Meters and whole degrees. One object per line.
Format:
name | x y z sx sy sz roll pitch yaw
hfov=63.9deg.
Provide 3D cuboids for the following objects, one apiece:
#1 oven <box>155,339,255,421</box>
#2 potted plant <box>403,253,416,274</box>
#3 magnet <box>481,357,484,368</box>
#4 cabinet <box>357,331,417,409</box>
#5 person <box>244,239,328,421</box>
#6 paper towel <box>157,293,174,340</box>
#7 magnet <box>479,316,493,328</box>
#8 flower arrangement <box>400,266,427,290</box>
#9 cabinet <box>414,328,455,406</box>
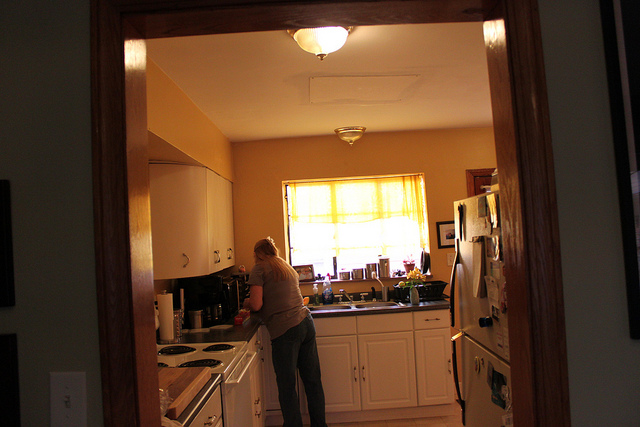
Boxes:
oven | -0.694 1.034 3.030 0.580 0.506 0.795 -4 -6 -9
potted plant | 0.850 0.481 4.837 0.127 0.140 0.125 -4 6 -44
magnet | 0.917 0.835 2.891 0.007 0.035 0.036 -5 19 13
cabinet | 0.499 1.278 4.310 0.525 0.799 0.518 -1 -7 1
person | -0.239 0.852 3.699 0.553 1.355 0.304 -2 -6 -21
paper towel | -1.000 0.663 3.364 0.078 0.323 0.076 -2 4 1
magnet | 0.897 0.585 2.770 0.053 0.053 0.051 -4 0 -6
flower arrangement | 0.824 0.561 4.478 0.167 0.160 0.169 0 0 -18
cabinet | 0.941 1.330 4.228 0.336 0.601 0.386 -8 -37 17
